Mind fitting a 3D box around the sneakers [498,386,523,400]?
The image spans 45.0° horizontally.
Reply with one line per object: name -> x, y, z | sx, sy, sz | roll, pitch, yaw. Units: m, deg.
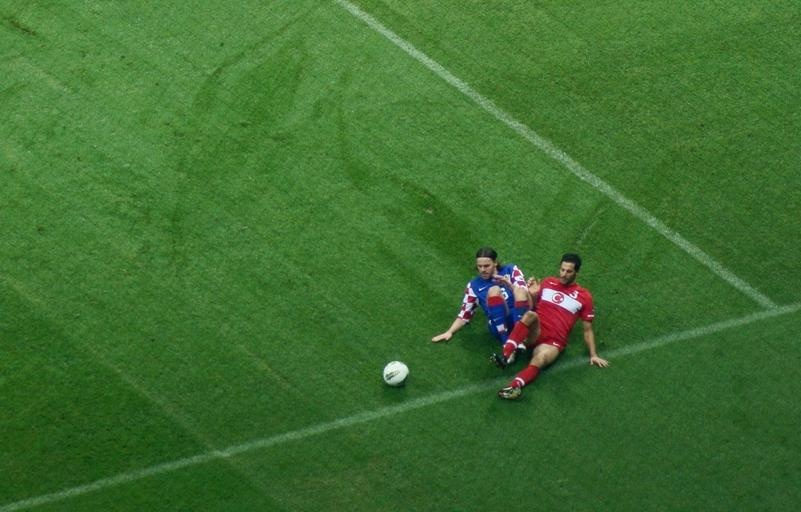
sneakers -> 1.624, 1.937, 13.655 | 0.366, 0.139, 0.169 | -3, 7, 30

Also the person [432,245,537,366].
person -> 1.389, 0.642, 13.820 | 1.185, 1.379, 1.652 | -9, 2, -38

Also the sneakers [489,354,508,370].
sneakers -> 1.434, 1.474, 13.535 | 0.133, 0.276, 0.134 | -51, 41, -7

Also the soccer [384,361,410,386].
soccer -> -0.031, 1.685, 13.873 | 0.383, 0.288, 0.290 | 4, 70, -8
